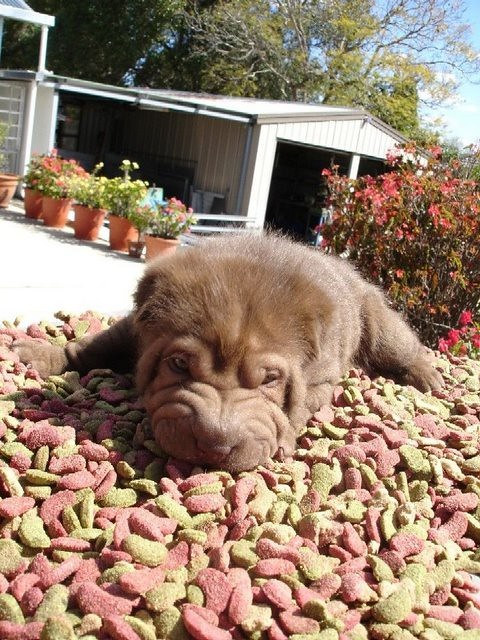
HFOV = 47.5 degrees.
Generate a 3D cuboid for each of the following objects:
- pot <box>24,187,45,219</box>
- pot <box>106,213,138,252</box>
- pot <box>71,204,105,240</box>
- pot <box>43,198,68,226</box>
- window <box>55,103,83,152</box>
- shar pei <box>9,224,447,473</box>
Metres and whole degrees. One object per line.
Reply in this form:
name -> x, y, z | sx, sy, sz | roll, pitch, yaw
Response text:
pot -> -4.576, -2.581, 12.020 | 0.398, 0.678, 0.365 | 13, 14, -3
pot -> -2.380, -1.803, 10.978 | 0.762, 0.675, 0.673 | 14, 16, 8
pot -> -3.053, -1.979, 11.321 | 0.733, 0.616, 0.723 | 17, 5, -2
pot -> -3.974, -2.349, 11.688 | 0.530, 0.679, 0.352 | 7, 15, -23
window -> -7.055, -8.119, 22.837 | 0.925, 1.993, 0.110 | 15, 14, 17
shar pei -> 0.080, -0.014, 2.849 | 1.927, 0.646, 1.906 | 13, 22, 17
